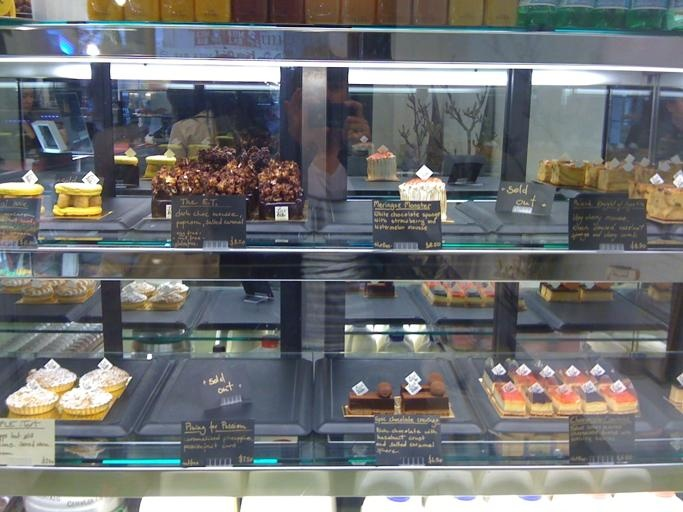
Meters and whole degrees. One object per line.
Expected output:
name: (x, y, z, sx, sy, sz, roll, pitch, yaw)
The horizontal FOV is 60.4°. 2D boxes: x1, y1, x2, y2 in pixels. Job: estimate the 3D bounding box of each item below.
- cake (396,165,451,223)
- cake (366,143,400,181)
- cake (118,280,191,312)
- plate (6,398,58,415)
cake: (0.236, -0.205, 1.917, 0.203, 0.206, 0.179, 1, 7, 2)
cake: (0.146, -0.318, 2.042, 0.112, 0.113, 0.109, -3, 11, -14)
cake: (-0.738, 0.158, 2.305, 0.189, 0.048, 0.198, 2, 11, 0)
plate: (-0.960, 0.469, 1.819, 0.140, 0.042, 0.063, -4, 16, -18)
